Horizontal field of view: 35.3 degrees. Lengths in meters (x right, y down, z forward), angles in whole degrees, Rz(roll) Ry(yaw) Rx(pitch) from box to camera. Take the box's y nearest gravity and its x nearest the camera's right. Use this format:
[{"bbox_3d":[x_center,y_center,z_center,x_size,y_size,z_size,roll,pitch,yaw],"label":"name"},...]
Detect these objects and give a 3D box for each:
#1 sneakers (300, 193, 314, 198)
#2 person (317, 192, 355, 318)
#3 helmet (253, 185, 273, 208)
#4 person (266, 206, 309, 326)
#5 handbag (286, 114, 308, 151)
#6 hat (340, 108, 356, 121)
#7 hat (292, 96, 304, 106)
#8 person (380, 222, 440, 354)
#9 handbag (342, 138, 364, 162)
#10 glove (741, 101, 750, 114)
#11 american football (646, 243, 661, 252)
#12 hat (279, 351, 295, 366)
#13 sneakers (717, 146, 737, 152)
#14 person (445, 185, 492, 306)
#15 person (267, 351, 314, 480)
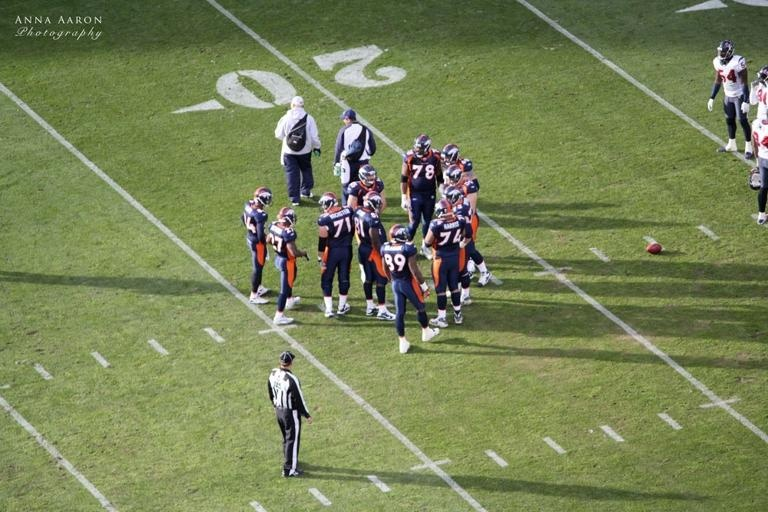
[{"bbox_3d":[-1.464,-1.188,23.451,0.207,0.123,0.104,2,11,28],"label":"sneakers"},{"bbox_3d":[-0.873,-0.029,20.819,0.557,2.120,0.839,9,29,31],"label":"person"},{"bbox_3d":[-2.064,-1.006,20.902,0.273,0.393,0.364,-3,24,7],"label":"helmet"},{"bbox_3d":[-1.689,0.113,20.752,0.756,2.042,0.839,-10,25,-5],"label":"person"},{"bbox_3d":[-1.596,-2.333,22.950,0.506,0.654,0.175,-17,27,-22],"label":"handbag"},{"bbox_3d":[-0.633,-2.643,22.613,0.257,0.178,0.316,-7,29,-13],"label":"hat"},{"bbox_3d":[-1.622,-2.969,23.138,0.253,0.160,0.326,-1,16,-11],"label":"hat"},{"bbox_3d":[0.430,0.545,20.035,0.743,2.136,0.631,-7,25,0],"label":"person"},{"bbox_3d":[-0.519,-1.954,22.166,0.175,0.409,0.295,24,30,-56],"label":"handbag"},{"bbox_3d":[6.941,-2.847,22.964,0.088,0.221,0.179,4,-3,5],"label":"glove"},{"bbox_3d":[4.910,-0.146,21.787,0.273,0.167,0.203,2,25,18],"label":"american football"},{"bbox_3d":[-1.474,1.550,18.415,0.199,0.137,0.254,4,39,2],"label":"hat"},{"bbox_3d":[6.817,-2.116,23.865,0.346,0.113,0.127,5,6,13],"label":"sneakers"},{"bbox_3d":[1.472,-0.111,20.970,1.149,2.269,0.747,-7,51,7],"label":"person"},{"bbox_3d":[-1.414,2.424,18.401,0.557,1.823,0.717,-9,25,-4],"label":"person"}]
